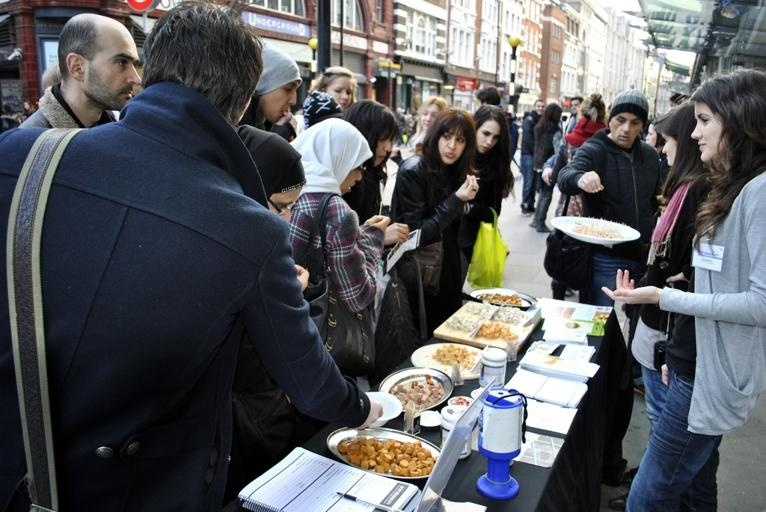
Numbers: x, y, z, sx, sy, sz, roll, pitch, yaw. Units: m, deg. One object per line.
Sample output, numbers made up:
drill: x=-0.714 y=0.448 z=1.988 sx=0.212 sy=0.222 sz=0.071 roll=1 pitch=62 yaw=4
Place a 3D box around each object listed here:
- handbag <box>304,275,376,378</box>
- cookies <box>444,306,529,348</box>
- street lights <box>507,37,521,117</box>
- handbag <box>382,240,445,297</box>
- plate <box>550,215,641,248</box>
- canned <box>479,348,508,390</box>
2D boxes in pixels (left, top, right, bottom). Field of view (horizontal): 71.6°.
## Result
handbag: x=-0.291 y=0.355 z=2.995 sx=0.292 sy=0.629 sz=0.581 roll=6 pitch=-4 yaw=38
cookies: x=0.639 y=0.451 z=3.375 sx=0.276 sy=0.026 sz=0.332 roll=6 pitch=18 yaw=25
street lights: x=4.030 y=-5.549 z=16.526 sx=0.396 sy=2.400 sz=0.388 roll=-1 pitch=6 yaw=-14
handbag: x=0.294 y=0.103 z=4.229 sx=0.325 sy=0.431 sz=0.189 roll=17 pitch=7 yaw=31
plate: x=1.610 y=-0.217 z=4.069 sx=0.640 sy=0.229 sz=0.470 roll=1 pitch=12 yaw=-4
canned: x=0.567 y=0.578 z=2.749 sx=0.133 sy=0.197 sz=0.135 roll=4 pitch=18 yaw=7
